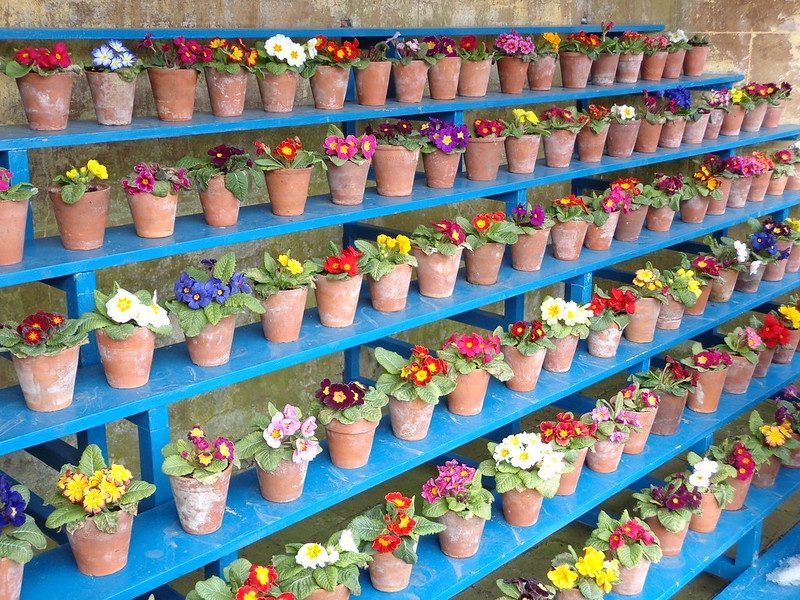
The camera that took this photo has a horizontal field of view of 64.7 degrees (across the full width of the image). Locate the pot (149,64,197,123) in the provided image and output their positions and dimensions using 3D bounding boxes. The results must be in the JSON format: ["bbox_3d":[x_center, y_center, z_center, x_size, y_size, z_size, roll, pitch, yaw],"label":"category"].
[{"bbox_3d":[-0.762,-0.686,2.122,0.175,0.160,0.175,0,10,0],"label":"pot"}]
